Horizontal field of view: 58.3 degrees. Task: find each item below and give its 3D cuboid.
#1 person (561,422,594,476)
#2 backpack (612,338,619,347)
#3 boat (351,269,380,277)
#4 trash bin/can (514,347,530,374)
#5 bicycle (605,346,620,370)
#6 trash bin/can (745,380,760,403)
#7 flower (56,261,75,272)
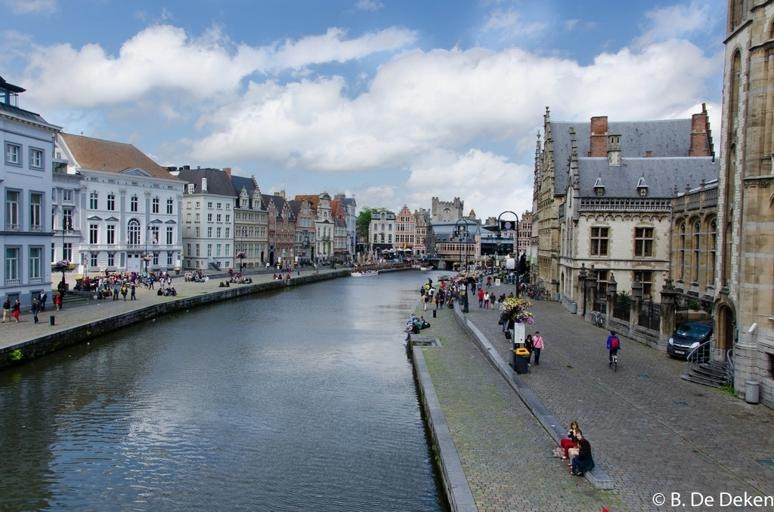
[{"bbox_3d":[8.120,8.222,29.727,0.771,2.192,1.535,-3,2,-30],"label":"person"},{"bbox_3d":[13.028,4.895,39.389,0.473,0.515,0.201,-4,2,-41],"label":"backpack"},{"bbox_3d":[-4.259,3.422,134.472,3.430,0.938,9.666,-2,1,22],"label":"boat"},{"bbox_3d":[7.649,5.916,39.186,0.763,1.510,0.560,-3,1,-13],"label":"trash bin/can"},{"bbox_3d":[13.398,5.837,40.372,0.827,0.940,1.608,1,18,5],"label":"bicycle"},{"bbox_3d":[18.585,6.951,35.065,0.700,1.078,0.428,-2,2,16],"label":"trash bin/can"},{"bbox_3d":[-31.754,1.049,68.048,1.473,0.618,1.444,-2,5,-37],"label":"flower"}]
